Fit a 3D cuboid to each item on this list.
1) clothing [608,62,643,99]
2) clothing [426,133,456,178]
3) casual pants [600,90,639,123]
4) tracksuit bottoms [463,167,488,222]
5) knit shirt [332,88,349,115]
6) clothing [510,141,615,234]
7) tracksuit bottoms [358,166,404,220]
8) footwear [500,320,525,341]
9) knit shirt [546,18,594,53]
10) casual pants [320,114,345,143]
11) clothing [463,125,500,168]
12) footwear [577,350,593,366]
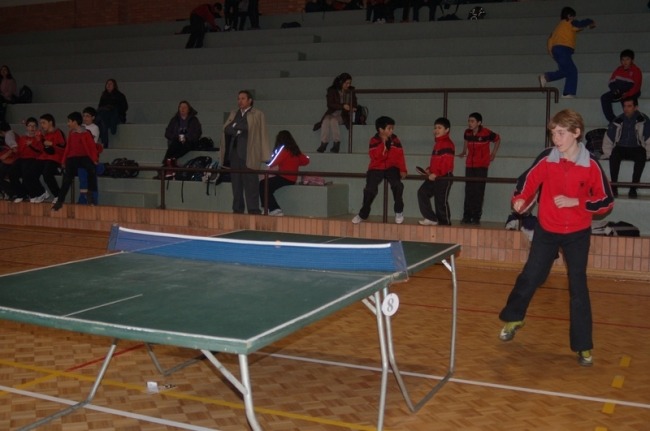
[{"bbox_3d":[5.602,-2.537,9.673,0.413,0.584,0.579,-38,41,-22],"label":"clothing"},{"bbox_3d":[1.858,-0.979,8.362,0.421,0.676,0.498,3,12,10],"label":"clothing"},{"bbox_3d":[5.376,-2.115,9.744,0.578,0.704,0.227,13,18,28],"label":"casual pants"},{"bbox_3d":[2.544,-0.338,8.829,0.351,0.937,0.853,4,12,14],"label":"tracksuit bottoms"},{"bbox_3d":[0.380,-2.309,10.770,0.123,0.472,0.464,1,-26,-12],"label":"knit shirt"},{"bbox_3d":[2.075,-0.234,4.534,0.776,0.782,0.378,7,14,26],"label":"clothing"},{"bbox_3d":[0.887,-0.310,8.743,1.002,1.019,0.781,1,-3,-8],"label":"tracksuit bottoms"},{"bbox_3d":[1.808,1.113,4.994,0.302,0.105,0.141,-39,-27,24],"label":"footwear"},{"bbox_3d":[4.857,-3.663,10.447,0.606,0.548,1.337,3,13,-6],"label":"knit shirt"},{"bbox_3d":[0.163,-1.826,11.025,0.394,0.625,0.262,0,2,16],"label":"casual pants"},{"bbox_3d":[2.689,-1.188,8.976,0.541,0.716,0.280,4,13,16],"label":"clothing"},{"bbox_3d":[2.340,1.274,4.632,0.080,0.092,0.211,-2,-5,9],"label":"footwear"}]
